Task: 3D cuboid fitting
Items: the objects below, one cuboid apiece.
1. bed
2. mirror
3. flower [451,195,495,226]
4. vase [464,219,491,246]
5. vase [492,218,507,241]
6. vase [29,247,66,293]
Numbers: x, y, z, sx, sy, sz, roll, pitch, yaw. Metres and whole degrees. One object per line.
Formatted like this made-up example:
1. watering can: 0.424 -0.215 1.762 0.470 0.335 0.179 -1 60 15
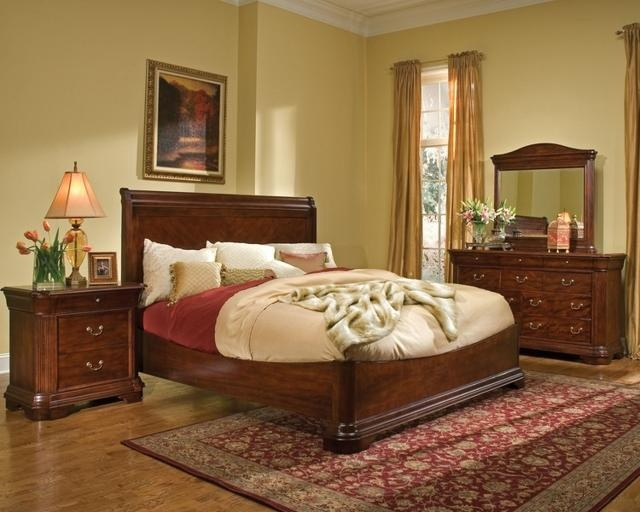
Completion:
1. bed: -0.120 0.467 3.762 2.542 1.483 2.249 2 4 44
2. mirror: 2.517 -0.622 5.369 1.410 1.323 0.175 2 3 42
3. flower: 1.786 -0.528 5.629 0.384 0.278 0.345 -3 9 -25
4. vase: 1.916 -0.284 5.734 0.324 0.421 0.300 -1 1 -41
5. vase: 2.088 -0.314 5.607 0.235 0.285 0.230 -1 1 -5
6. vase: -1.848 0.091 3.309 0.187 0.275 0.149 1 -1 -28
